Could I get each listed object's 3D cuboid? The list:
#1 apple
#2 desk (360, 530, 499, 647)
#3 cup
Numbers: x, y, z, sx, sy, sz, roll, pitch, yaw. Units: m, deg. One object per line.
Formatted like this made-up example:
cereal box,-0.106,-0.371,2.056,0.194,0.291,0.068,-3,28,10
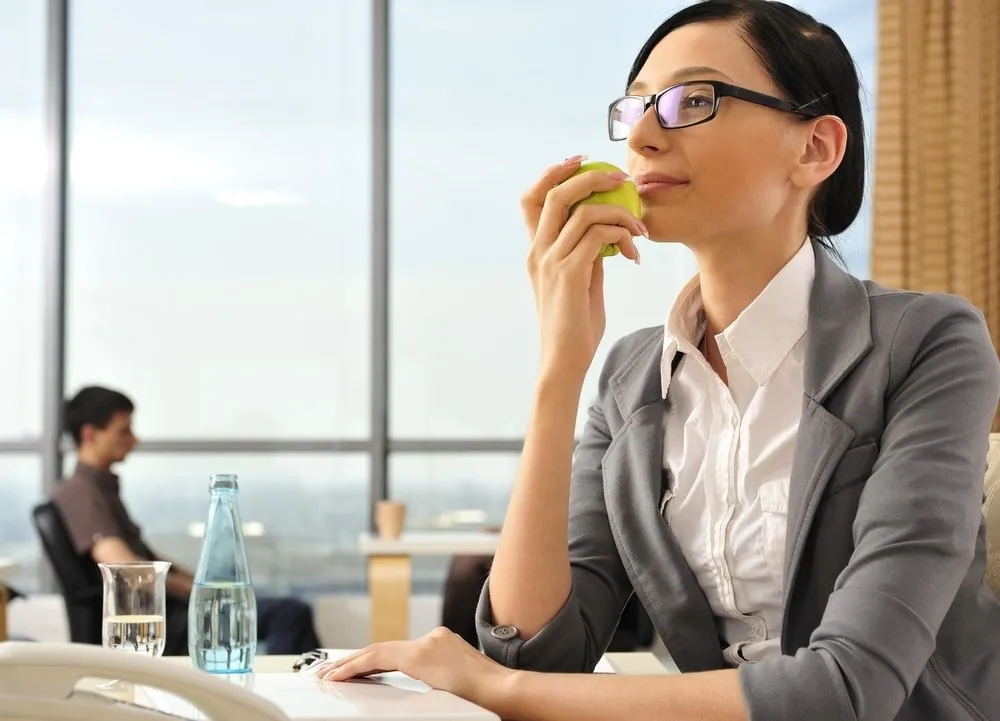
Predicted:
apple,0.233,-0.339,2.685,0.167,0.224,0.181,-1,0,22
desk,-0.294,0.879,5.051,0.485,0.528,0.518,0,-7,-4
cup,-0.742,0.495,2.445,0.186,0.263,0.183,0,-8,0
